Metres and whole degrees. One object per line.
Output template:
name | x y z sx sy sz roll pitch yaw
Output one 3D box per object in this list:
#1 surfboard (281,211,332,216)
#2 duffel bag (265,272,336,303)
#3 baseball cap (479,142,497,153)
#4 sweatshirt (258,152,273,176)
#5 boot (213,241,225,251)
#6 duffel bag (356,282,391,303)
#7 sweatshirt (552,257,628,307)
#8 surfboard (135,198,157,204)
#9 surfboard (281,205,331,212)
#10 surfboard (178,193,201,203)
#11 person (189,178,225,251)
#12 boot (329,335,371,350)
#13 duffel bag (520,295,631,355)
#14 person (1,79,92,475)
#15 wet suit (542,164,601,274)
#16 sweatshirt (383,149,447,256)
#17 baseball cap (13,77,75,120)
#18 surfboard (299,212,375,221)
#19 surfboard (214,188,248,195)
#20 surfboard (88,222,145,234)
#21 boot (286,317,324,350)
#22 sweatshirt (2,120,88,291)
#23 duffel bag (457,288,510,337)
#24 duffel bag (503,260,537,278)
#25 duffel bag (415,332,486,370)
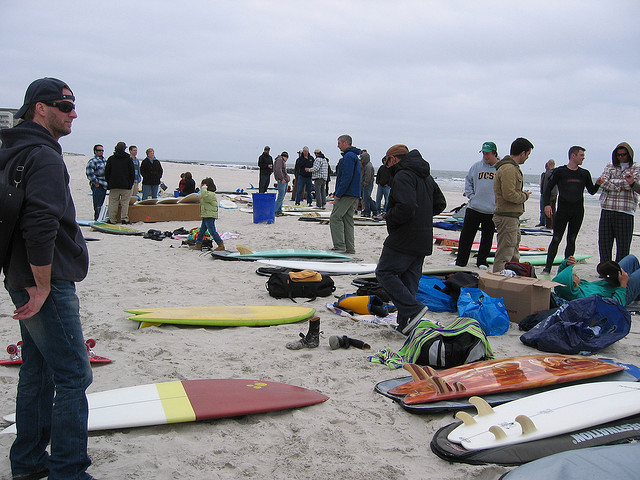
surfboard | -0.308 -0.812 16.761 1.872 0.082 0.491 -1 4 -1
duffel bag | -0.254 0.559 7.380 0.952 0.322 0.688 4 13 -14
baseball cap | 2.564 -1.400 8.269 0.176 0.133 0.198 5 6 17
sweatshirt | -1.675 -2.342 16.914 0.426 0.695 0.601 3 6 -7
boot | -1.867 0.108 10.033 0.245 0.077 0.070 -7 23 43
duffel bag | 0.678 0.647 6.879 0.337 0.116 0.283 3 -2 -29
sweatshirt | 3.237 0.444 6.537 0.808 0.452 0.815 -6 8 -12
surfboard | -4.474 -0.993 14.193 0.281 0.121 0.594 7 7 31
surfboard | -0.565 -0.948 17.509 1.276 0.129 1.781 2 6 -10
surfboard | -3.472 -1.112 14.617 0.603 0.253 0.386 4 6 5
person | -2.095 -0.471 10.140 0.612 1.325 1.433 2 6 -13
boot | 0.303 1.017 5.443 0.429 0.133 0.149 2 6 -8
duffel bag | 2.636 0.894 5.616 1.013 0.387 1.042 2 10 29
person | -1.707 0.255 3.392 0.524 2.487 0.562 1 7 -23
wet suit | 3.921 -0.440 8.409 0.876 1.901 0.608 2 7 21
sweatshirt | 0.971 -0.386 5.692 0.708 1.088 0.369 -2 8 -40
baseball cap | -1.702 -0.906 3.482 0.386 0.202 0.262 -6 7 30
surfboard | 0.355 -0.587 13.864 1.563 0.084 0.407 5 10 11
surfboard | -4.133 -2.244 25.659 1.440 0.210 1.988 2 6 -9
surfboard | -4.665 -0.268 12.363 1.366 0.142 0.537 7 -2 28
boot | -0.165 0.937 5.454 0.428 0.298 0.145 2 2 -33
sweatshirt | -1.717 -0.203 3.319 0.535 1.050 0.347 3 6 -5
duffel bag | 1.876 0.787 6.217 0.576 0.290 0.747 -10 13 -9
duffel bag | 2.608 0.373 7.096 0.297 0.140 0.237 12 6 21
duffel bag | 1.280 0.978 5.301 0.782 0.311 0.608 -8 5 24
